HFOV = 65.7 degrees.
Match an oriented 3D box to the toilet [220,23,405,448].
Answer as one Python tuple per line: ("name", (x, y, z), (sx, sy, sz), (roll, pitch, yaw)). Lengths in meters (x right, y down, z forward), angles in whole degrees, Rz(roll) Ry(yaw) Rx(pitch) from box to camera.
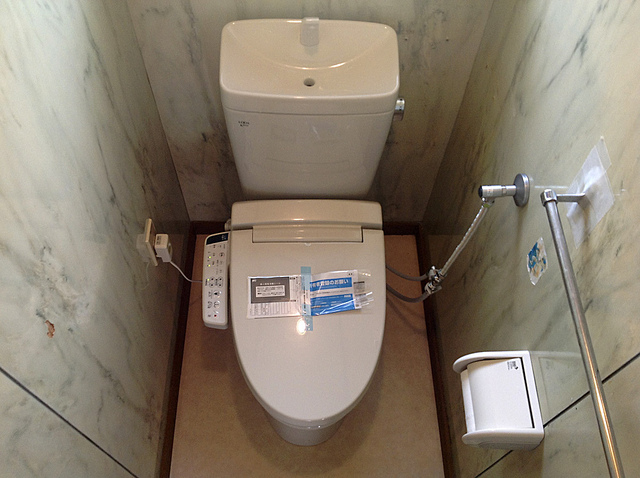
("toilet", (-0.026, 0.094, 1.648), (0.508, 1.219, 0.945), (1, 66, -1))

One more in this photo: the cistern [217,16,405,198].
("cistern", (-0.020, -0.345, 1.613), (0.554, 0.776, 0.434), (-1, 59, -1))
